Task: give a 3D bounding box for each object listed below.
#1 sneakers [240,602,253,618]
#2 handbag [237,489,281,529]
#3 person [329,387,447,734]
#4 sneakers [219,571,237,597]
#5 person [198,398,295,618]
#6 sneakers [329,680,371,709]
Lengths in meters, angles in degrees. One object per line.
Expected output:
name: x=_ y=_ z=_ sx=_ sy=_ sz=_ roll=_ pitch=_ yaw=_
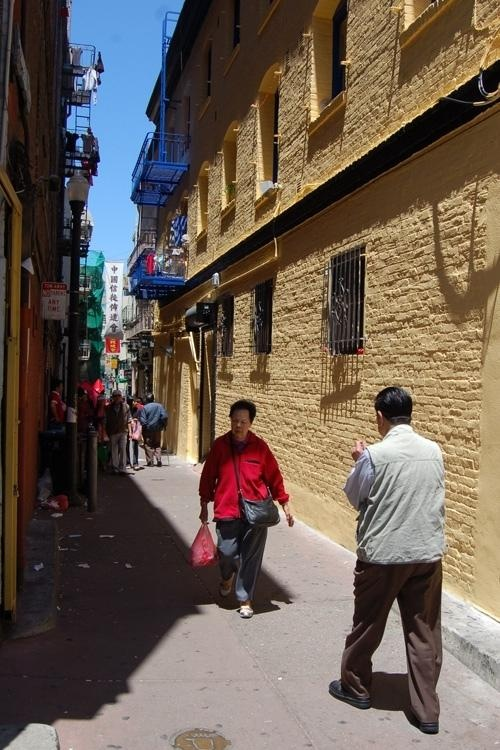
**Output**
sneakers: x=-0.025 y=1.812 z=4.743 sx=0.115 sy=0.097 sz=0.179 roll=1 pitch=-7 yaw=1
handbag: x=0.060 y=1.040 z=4.799 sx=0.266 sy=0.272 sz=0.116 roll=9 pitch=-36 yaw=-41
person: x=0.674 y=0.839 z=2.915 sx=0.466 sy=1.559 sz=0.479 roll=0 pitch=-6 yaw=11
sneakers: x=-0.191 y=1.796 z=5.302 sx=0.105 sy=0.121 sz=0.313 roll=0 pitch=3 yaw=2
person: x=-0.030 y=1.044 z=4.963 sx=0.726 sy=1.673 sz=0.533 roll=1 pitch=-6 yaw=3
sneakers: x=0.495 y=1.601 z=3.089 sx=0.076 sy=0.087 sz=0.203 roll=-3 pitch=4 yaw=-30
